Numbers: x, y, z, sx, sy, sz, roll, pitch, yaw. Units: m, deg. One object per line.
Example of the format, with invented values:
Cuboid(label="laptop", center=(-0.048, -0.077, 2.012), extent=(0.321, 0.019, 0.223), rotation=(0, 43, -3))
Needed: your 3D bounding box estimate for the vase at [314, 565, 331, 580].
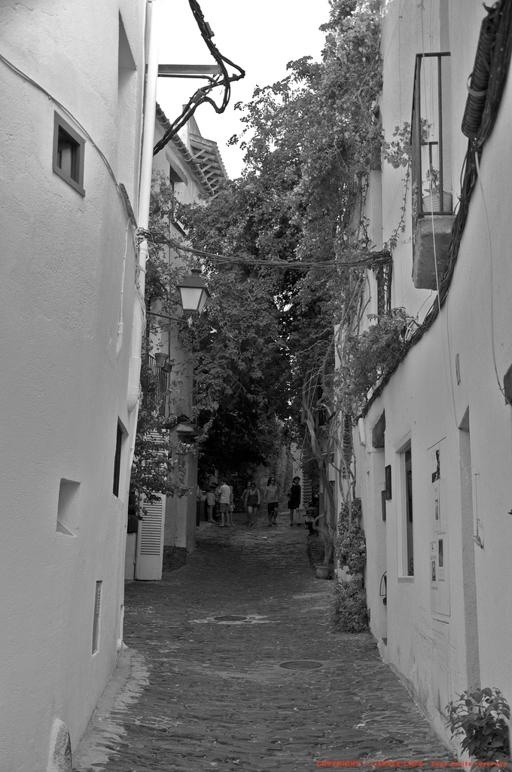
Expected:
Cuboid(label="vase", center=(1.518, 4.134, 16.740), extent=(0.356, 0.299, 0.349), rotation=(1, -9, 12))
